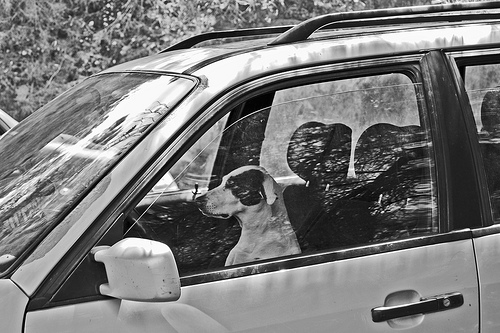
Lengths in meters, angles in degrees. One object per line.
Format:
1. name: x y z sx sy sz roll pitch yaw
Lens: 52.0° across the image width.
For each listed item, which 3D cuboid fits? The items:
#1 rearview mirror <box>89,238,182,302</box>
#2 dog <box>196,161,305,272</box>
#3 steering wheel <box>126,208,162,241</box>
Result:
1. rearview mirror: -0.419 0.373 1.866 0.351 0.232 0.183 -1 14 14
2. dog: 0.023 0.231 2.198 0.515 0.523 0.249 -6 21 -25
3. steering wheel: -0.415 0.227 1.969 0.047 0.145 0.133 -2 5 33
